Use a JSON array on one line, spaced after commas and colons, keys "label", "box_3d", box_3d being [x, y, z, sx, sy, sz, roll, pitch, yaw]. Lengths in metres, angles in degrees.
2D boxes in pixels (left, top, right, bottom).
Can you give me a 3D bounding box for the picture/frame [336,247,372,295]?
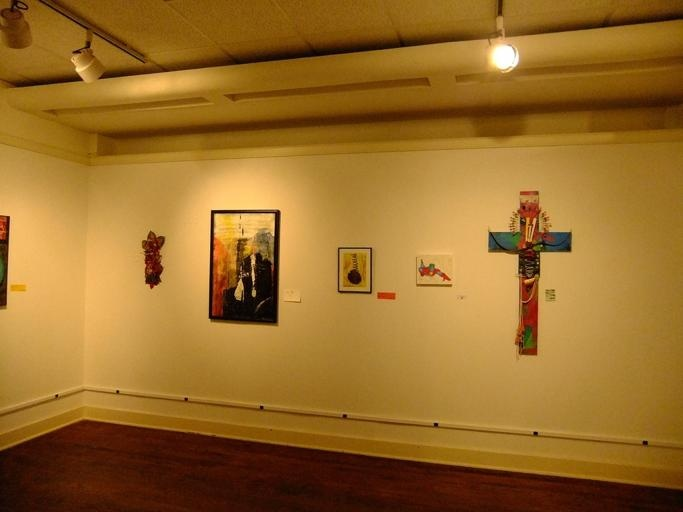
[{"label": "picture/frame", "box_3d": [0.160, 0.169, 5.796, 0.537, 0.672, 0.049, 0, -1, 8]}]
